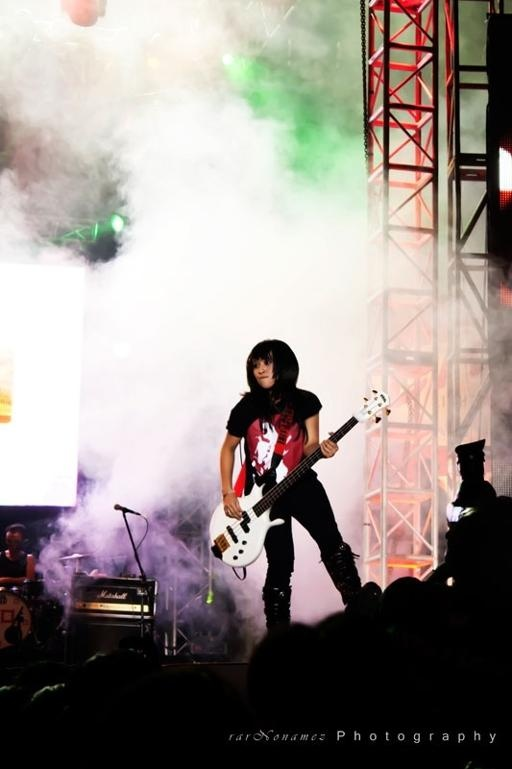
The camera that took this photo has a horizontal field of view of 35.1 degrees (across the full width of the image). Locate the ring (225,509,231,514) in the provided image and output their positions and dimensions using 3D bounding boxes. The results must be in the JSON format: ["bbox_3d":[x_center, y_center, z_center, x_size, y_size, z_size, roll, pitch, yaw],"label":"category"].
[{"bbox_3d":[-0.139,0.656,4.208,0.009,0.026,0.025,-1,-43,-41],"label":"ring"}]
